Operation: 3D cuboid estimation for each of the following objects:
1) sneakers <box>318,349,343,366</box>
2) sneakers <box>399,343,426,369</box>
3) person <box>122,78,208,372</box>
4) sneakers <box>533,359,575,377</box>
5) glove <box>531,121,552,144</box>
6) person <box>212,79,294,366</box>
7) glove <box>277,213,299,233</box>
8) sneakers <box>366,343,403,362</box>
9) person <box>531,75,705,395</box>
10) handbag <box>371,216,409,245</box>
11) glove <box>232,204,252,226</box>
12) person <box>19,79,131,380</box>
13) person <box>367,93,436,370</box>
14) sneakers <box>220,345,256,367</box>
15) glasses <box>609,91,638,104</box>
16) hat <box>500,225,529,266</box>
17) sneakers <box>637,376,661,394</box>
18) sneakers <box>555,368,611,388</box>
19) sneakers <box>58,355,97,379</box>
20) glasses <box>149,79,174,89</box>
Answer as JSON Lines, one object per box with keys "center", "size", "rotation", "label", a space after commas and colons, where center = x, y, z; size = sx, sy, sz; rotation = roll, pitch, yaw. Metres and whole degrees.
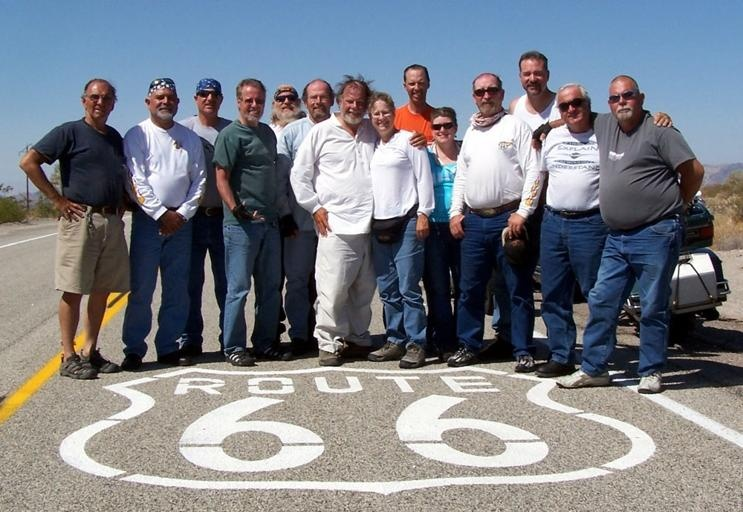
{"center": [-0.458, 1.148, 6.241], "size": [0.289, 0.177, 0.237], "rotation": [-2, 6, -14], "label": "sneakers"}
{"center": [0.451, 1.117, 6.219], "size": [0.267, 0.241, 0.346], "rotation": [2, 6, 17], "label": "sneakers"}
{"center": [-2.342, -0.362, 6.114], "size": [0.952, 3.151, 0.566], "rotation": [-2, 7, -15], "label": "person"}
{"center": [1.928, 1.185, 5.834], "size": [0.377, 0.146, 0.163], "rotation": [2, -1, -14], "label": "sneakers"}
{"center": [1.831, -1.338, 5.930], "size": [0.209, 0.210, 0.056], "rotation": [45, -10, 22], "label": "glove"}
{"center": [-1.379, -0.391, 6.319], "size": [0.786, 3.214, 0.625], "rotation": [-3, 7, -22], "label": "person"}
{"center": [-1.028, -0.379, 6.731], "size": [0.150, 0.262, 0.182], "rotation": [-31, -30, -7], "label": "glove"}
{"center": [0.172, 1.131, 6.428], "size": [0.466, 0.201, 0.175], "rotation": [1, 1, -4], "label": "sneakers"}
{"center": [2.598, -0.224, 5.352], "size": [0.984, 3.025, 0.769], "rotation": [3, 8, 28], "label": "person"}
{"center": [0.194, -0.305, 6.261], "size": [0.350, 0.160, 0.329], "rotation": [-1, 4, 27], "label": "handbag"}
{"center": [-1.466, -0.473, 6.173], "size": [0.208, 0.220, 0.161], "rotation": [-2, 7, -16], "label": "glove"}
{"center": [-3.032, -0.301, 5.766], "size": [0.932, 3.064, 0.613], "rotation": [-3, 7, -24], "label": "person"}
{"center": [0.329, -0.304, 6.294], "size": [0.736, 3.066, 0.612], "rotation": [0, 7, 6], "label": "person"}
{"center": [-1.535, 1.138, 6.280], "size": [0.460, 0.168, 0.208], "rotation": [5, 8, 43], "label": "sneakers"}
{"center": [2.449, -1.537, 5.346], "size": [0.272, 0.117, 0.103], "rotation": [1, 6, 15], "label": "glasses"}
{"center": [1.538, -0.100, 5.888], "size": [0.284, 0.348, 0.380], "rotation": [-1, -10, 1], "label": "hat"}
{"center": [2.654, 1.222, 5.251], "size": [0.113, 0.115, 0.311], "rotation": [-4, -13, 43], "label": "sneakers"}
{"center": [2.090, 1.226, 5.532], "size": [0.563, 0.217, 0.185], "rotation": [1, -4, -4], "label": "sneakers"}
{"center": [-3.074, 1.138, 5.709], "size": [0.270, 0.214, 0.464], "rotation": [-6, 8, -42], "label": "sneakers"}
{"center": [-2.331, -1.884, 6.053], "size": [0.242, 0.108, 0.084], "rotation": [-1, 6, -4], "label": "glasses"}
